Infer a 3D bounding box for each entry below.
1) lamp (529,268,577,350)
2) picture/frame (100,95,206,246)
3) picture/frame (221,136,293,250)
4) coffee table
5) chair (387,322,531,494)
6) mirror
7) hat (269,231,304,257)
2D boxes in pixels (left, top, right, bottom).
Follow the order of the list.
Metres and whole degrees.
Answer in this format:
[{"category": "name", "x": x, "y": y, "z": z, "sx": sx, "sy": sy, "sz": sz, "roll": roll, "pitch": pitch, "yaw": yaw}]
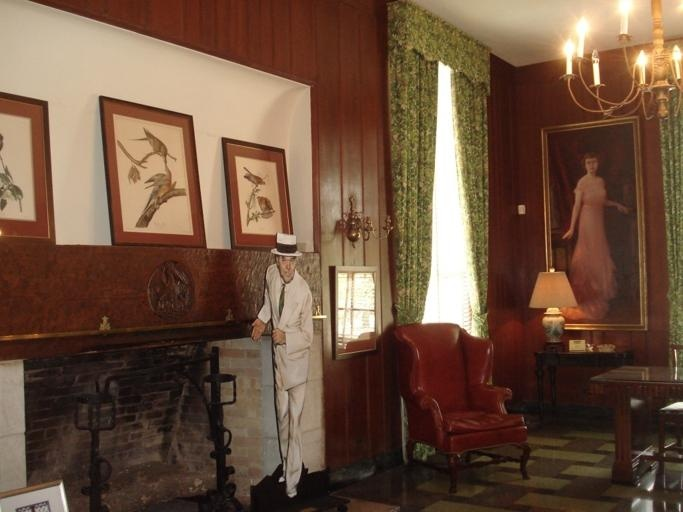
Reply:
[{"category": "lamp", "x": 2.801, "y": 0.721, "z": 7.556, "sx": 0.579, "sy": 0.989, "sz": 0.585, "roll": 0, "pitch": -7, "yaw": -3}, {"category": "picture/frame", "x": -1.302, "y": -0.560, "z": 3.970, "sx": 0.104, "sy": 0.988, "sz": 0.734, "roll": -4, "pitch": -4, "yaw": 42}, {"category": "picture/frame", "x": -0.690, "y": -0.492, "z": 4.709, "sx": 0.093, "sy": 0.881, "sz": 0.689, "roll": -4, "pitch": -4, "yaw": 39}, {"category": "coffee table", "x": 3.078, "y": 1.676, "z": 7.345, "sx": 1.043, "sy": 0.867, "sz": 0.678, "roll": -3, "pitch": -5, "yaw": 24}, {"category": "chair", "x": 1.121, "y": 1.388, "z": 5.580, "sx": 1.075, "sy": 1.420, "sz": 0.931, "roll": 0, "pitch": -3, "yaw": -21}, {"category": "mirror", "x": 0.102, "y": 0.553, "z": 5.420, "sx": 0.066, "sy": 1.088, "sz": 0.890, "roll": -3, "pitch": 0, "yaw": 34}, {"category": "hat", "x": -0.414, "y": -0.099, "z": 4.408, "sx": 0.177, "sy": 0.109, "sz": 0.186, "roll": 7, "pitch": 5, "yaw": -1}]
